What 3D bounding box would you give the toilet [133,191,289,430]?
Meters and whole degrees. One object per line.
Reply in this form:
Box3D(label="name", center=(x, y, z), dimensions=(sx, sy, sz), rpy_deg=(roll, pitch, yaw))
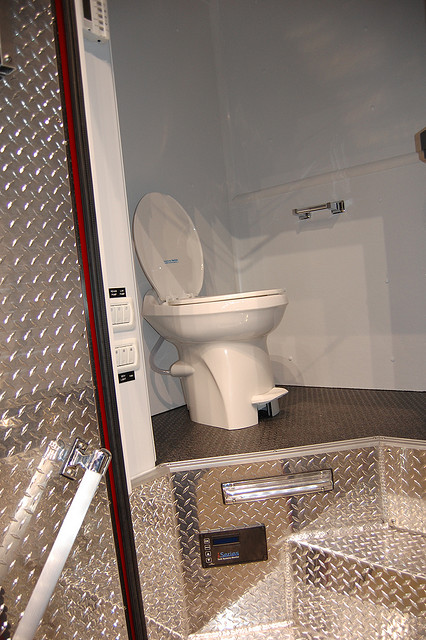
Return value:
Box3D(label="toilet", center=(-0.033, -0.092, 2.180), dimensions=(0.423, 1.057, 0.715), rpy_deg=(-15, 8, -29))
